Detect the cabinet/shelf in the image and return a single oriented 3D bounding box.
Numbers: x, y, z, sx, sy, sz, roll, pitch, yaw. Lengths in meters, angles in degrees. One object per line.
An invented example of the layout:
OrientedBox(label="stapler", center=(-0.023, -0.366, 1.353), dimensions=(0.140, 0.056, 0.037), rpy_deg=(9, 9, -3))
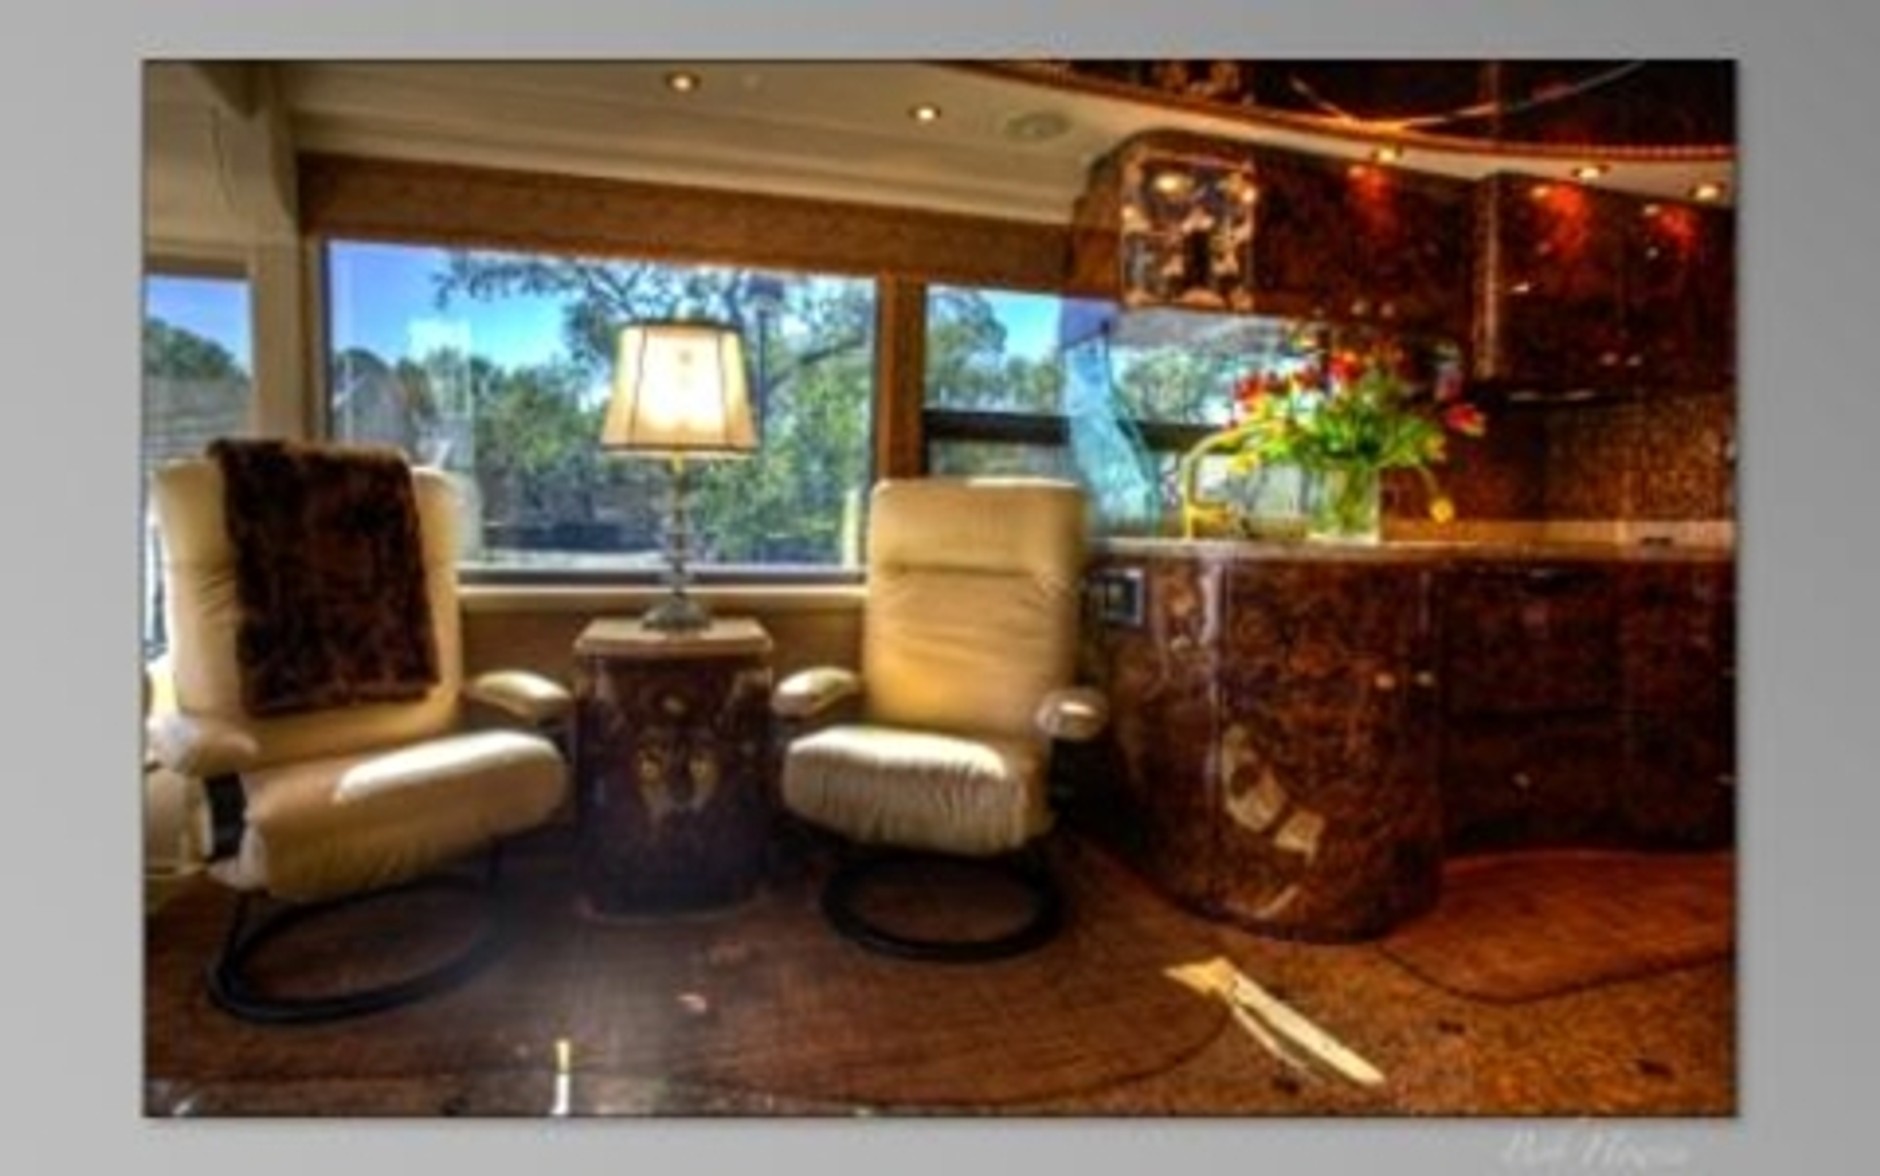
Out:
OrientedBox(label="cabinet/shelf", center=(-0.957, 0.634, 4.529), dimensions=(0.729, 0.834, 0.820), rpy_deg=(1, -4, -18))

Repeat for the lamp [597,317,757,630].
OrientedBox(label="lamp", center=(-0.920, -0.402, 4.500), dimensions=(0.518, 1.041, 0.542), rpy_deg=(-3, 9, -8))

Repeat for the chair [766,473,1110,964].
OrientedBox(label="chair", center=(0.031, 0.369, 4.414), dimensions=(1.220, 1.306, 1.252), rpy_deg=(0, 13, 8))

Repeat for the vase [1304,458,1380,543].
OrientedBox(label="vase", center=(1.414, -0.298, 4.596), dimensions=(0.289, 0.277, 0.282), rpy_deg=(2, 0, 8))

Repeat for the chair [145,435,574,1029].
OrientedBox(label="chair", center=(-1.868, 0.388, 4.085), dimensions=(1.056, 1.561, 1.245), rpy_deg=(14, 15, 36))

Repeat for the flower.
OrientedBox(label="flower", center=(1.494, -0.491, 4.566), dimensions=(0.878, 0.542, 0.803), rpy_deg=(-5, 8, -16))
